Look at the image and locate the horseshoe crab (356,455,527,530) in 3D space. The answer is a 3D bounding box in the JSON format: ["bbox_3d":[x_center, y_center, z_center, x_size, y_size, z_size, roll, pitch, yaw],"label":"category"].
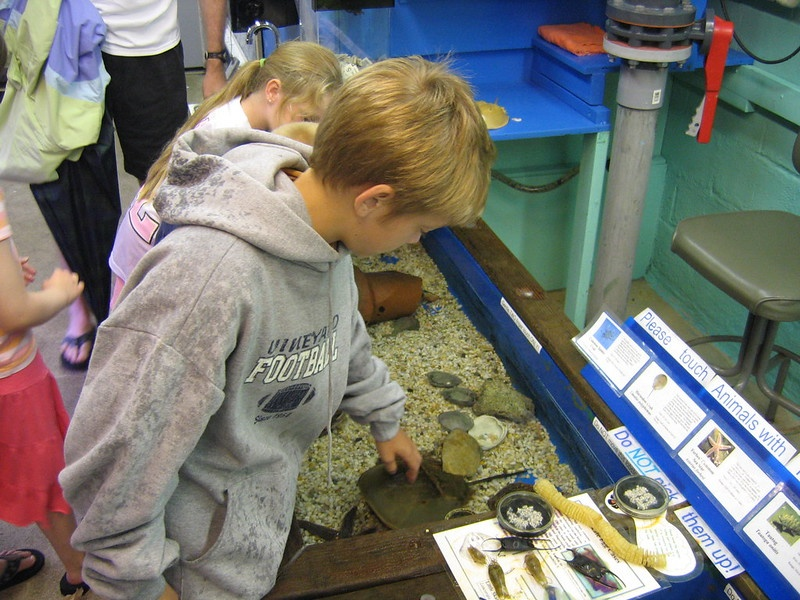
[{"bbox_3d":[0.070,0.633,2.033,0.327,0.046,0.180,-13,31,-24],"label":"horseshoe crab"}]
